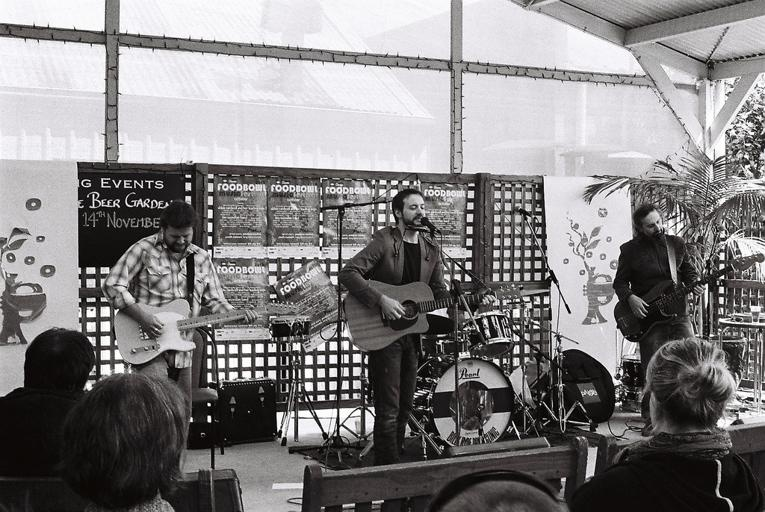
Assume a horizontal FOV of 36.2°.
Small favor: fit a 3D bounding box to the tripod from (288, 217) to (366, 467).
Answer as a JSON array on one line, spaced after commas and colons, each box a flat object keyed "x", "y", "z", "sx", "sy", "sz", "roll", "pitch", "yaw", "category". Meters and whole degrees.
[{"x": -0.447, "y": 0.759, "z": 12.130, "sx": 0.537, "sy": 2.631, "sz": 0.728, "roll": 0, "pitch": 0, "yaw": -13, "category": "tripod"}]

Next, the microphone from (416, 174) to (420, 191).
[{"x": 0.388, "y": -0.851, "z": 13.337, "sx": 0.062, "sy": 0.170, "sz": 0.098, "roll": -1, "pitch": -4, "yaw": -2, "category": "microphone"}]

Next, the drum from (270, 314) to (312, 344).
[{"x": -0.988, "y": 0.750, "z": 12.431, "sx": 0.347, "sy": 0.192, "sz": 0.261, "roll": 0, "pitch": -4, "yaw": -8, "category": "drum"}]

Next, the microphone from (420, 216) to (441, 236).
[{"x": 0.432, "y": -0.280, "z": 11.048, "sx": 0.172, "sy": 0.182, "sz": 0.228, "roll": -2, "pitch": -4, "yaw": 3, "category": "microphone"}]

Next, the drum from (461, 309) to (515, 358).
[{"x": 1.045, "y": 0.814, "z": 11.819, "sx": 0.418, "sy": 0.339, "sz": 0.434, "roll": -3, "pitch": -20, "yaw": -1, "category": "drum"}]
